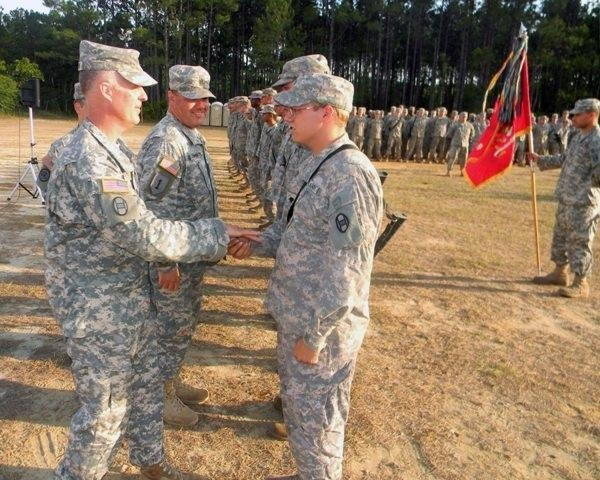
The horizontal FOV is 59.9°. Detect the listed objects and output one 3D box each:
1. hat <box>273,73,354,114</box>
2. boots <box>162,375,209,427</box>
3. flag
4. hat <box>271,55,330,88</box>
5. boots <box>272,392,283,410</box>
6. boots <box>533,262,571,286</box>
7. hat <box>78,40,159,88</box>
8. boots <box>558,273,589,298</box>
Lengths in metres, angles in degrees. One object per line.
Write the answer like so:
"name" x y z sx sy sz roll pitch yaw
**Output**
"hat" 0.088 -0.895 3.164 0.530 0.266 0.369 3 10 -9
"boots" -0.843 1.211 3.835 0.261 0.132 0.332 11 7 -3
"flag" 2.742 -1.795 6.901 0.772 2.344 0.307 9 -6 23
"hat" 0.021 -1.423 4.422 0.552 0.270 0.418 -5 7 -2
"boots" -0.162 1.226 3.951 0.094 0.185 0.170 0 -13 0
"boots" 3.257 0.422 6.850 0.486 0.399 0.202 5 9 18
"hat" -1.009 -0.949 2.880 0.369 0.176 0.254 3 20 -19
"boots" 3.425 0.574 6.409 0.422 0.397 0.190 0 2 -8
